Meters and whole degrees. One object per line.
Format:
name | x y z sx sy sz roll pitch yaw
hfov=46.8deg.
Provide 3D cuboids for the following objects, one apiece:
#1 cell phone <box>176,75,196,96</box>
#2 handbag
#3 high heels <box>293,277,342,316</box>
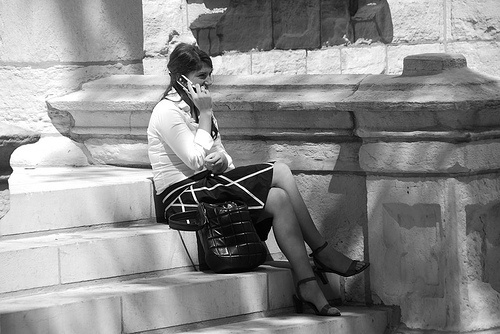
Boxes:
cell phone | -0.459 -0.546 3.795 0.159 0.085 0.037 46 34 6
handbag | -0.242 0.402 3.787 0.469 0.417 0.731 -4 14 -31
high heels | 0.396 0.809 3.559 0.330 0.199 0.118 -5 -5 33
